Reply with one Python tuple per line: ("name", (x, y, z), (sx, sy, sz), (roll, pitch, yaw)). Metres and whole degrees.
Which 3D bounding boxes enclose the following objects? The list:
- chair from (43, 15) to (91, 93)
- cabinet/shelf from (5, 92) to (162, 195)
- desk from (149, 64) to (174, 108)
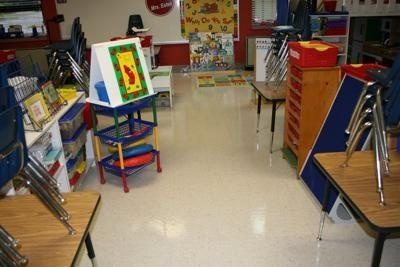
("chair", (-2.063, -1.200, 4.548), (0.648, 1.038, 1.001), (-12, 25, -18))
("cabinet/shelf", (-1.044, 0.012, 4.029), (0.945, 1.122, 1.222), (-7, 24, -9))
("desk", (-0.806, -0.935, 5.966), (0.402, 0.497, 1.220), (-3, 34, -3))
